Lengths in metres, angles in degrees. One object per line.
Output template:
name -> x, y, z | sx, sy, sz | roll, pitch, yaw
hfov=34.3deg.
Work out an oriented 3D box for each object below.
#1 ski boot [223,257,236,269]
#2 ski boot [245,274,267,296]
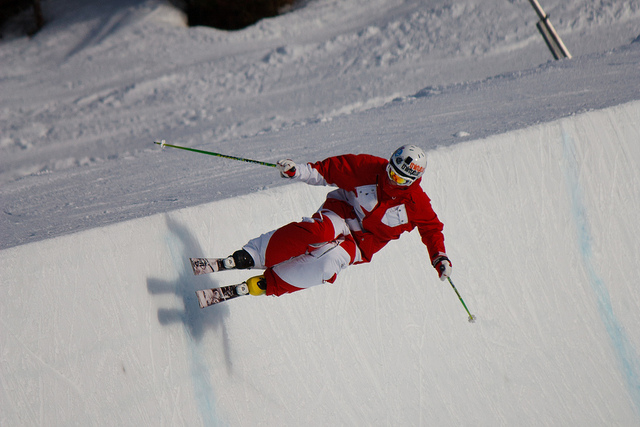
ski boot -> -1.572, 0.835, 17.452 | 0.170, 0.197, 0.061 | 2, -1, -14
ski boot -> -1.133, 1.226, 17.577 | 0.317, 0.276, 0.315 | -12, -15, -14
